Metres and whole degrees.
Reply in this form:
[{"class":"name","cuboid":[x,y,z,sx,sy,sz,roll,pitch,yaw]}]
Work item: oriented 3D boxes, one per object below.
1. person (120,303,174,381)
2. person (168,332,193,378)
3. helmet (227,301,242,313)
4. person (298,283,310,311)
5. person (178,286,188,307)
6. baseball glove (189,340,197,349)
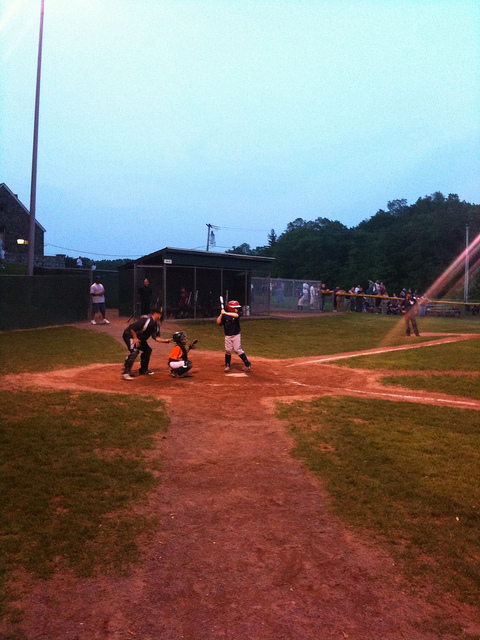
[{"class":"person","cuboid":[-2.365,0.562,11.849,0.876,1.660,1.299,1,5,-4]},{"class":"person","cuboid":[-1.422,0.897,11.876,0.483,1.118,0.508,-5,-12,17]},{"class":"helmet","cuboid":[-0.145,-0.326,12.889,0.279,0.319,0.246,-10,9,5]},{"class":"person","cuboid":[5.165,-1.790,39.319,0.848,1.985,0.513,2,5,5]},{"class":"person","cuboid":[-3.066,-1.242,26.997,0.516,1.105,0.517,0,6,-22]},{"class":"baseball glove","cuboid":[-1.426,0.798,15.134,0.247,0.220,0.363,11,-30,-24]}]
